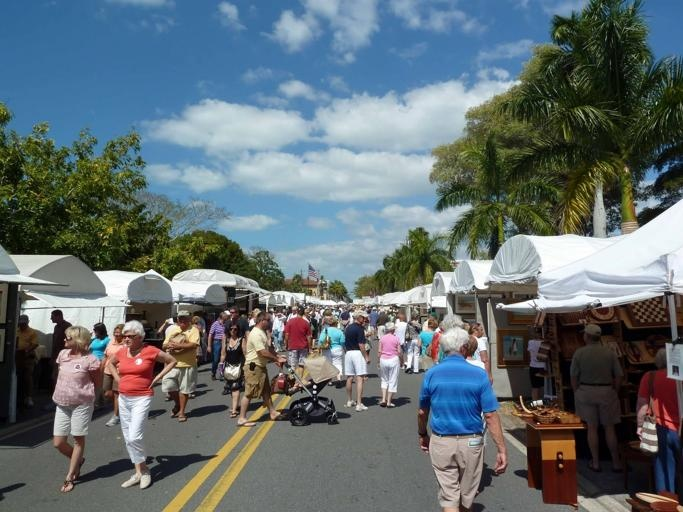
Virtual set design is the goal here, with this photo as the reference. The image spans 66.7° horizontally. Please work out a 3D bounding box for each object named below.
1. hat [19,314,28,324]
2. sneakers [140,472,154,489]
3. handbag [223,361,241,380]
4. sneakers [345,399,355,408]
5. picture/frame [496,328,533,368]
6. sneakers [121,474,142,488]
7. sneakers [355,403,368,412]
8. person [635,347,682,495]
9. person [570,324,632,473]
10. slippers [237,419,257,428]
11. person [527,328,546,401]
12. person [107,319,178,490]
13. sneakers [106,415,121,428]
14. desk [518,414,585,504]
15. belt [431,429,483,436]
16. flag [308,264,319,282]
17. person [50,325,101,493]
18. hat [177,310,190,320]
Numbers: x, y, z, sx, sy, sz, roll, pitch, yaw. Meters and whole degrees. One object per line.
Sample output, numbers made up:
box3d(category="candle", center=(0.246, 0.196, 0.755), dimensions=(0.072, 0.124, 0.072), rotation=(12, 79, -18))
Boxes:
box3d(category="hat", center=(-7.909, 1.616, 12.989), dimensions=(0.169, 0.160, 0.254), rotation=(5, -11, -27))
box3d(category="sneakers", center=(-3.108, 3.590, 8.282), dimensions=(0.169, 0.214, 0.160), rotation=(0, 1, -21))
box3d(category="handbag", center=(-2.589, 2.770, 12.239), dimensions=(0.345, 0.374, 0.287), rotation=(-13, -22, 13))
box3d(category="sneakers", center=(0.234, 3.740, 13.090), dimensions=(0.111, 0.145, 0.319), rotation=(0, -2, 38))
box3d(category="picture/frame", center=(4.590, 2.495, 13.951), dimensions=(0.842, 1.077, 0.056), rotation=(-5, -33, 23))
box3d(category="sneakers", center=(-3.392, 3.597, 8.337), dimensions=(0.316, 0.202, 0.234), rotation=(0, 0, 34))
box3d(category="sneakers", center=(0.491, 3.743, 12.770), dimensions=(0.126, 0.166, 0.358), rotation=(0, -1, 42))
box3d(category="person", center=(4.650, 2.400, 7.593), dimensions=(0.330, 2.016, 0.756), rotation=(0, 1, -7))
box3d(category="person", center=(4.399, 2.478, 9.041), dimensions=(0.801, 2.454, 0.506), rotation=(0, 1, 28))
box3d(category="slippers", center=(-2.074, 3.649, 11.324), dimensions=(0.323, 0.251, 0.161), rotation=(1, -2, 1))
box3d(category="person", center=(4.584, 2.578, 12.203), dimensions=(0.352, 1.701, 0.885), rotation=(0, 1, 21))
box3d(category="person", center=(-3.382, 2.401, 8.742), dimensions=(0.791, 2.590, 1.239), rotation=(-1, 1, -25))
box3d(category="sneakers", center=(-5.099, 3.697, 11.564), dimensions=(0.343, 0.179, 0.144), rotation=(-1, -7, 1))
box3d(category="desk", center=(3.465, 3.004, 8.666), dimensions=(0.826, 1.427, 1.840), rotation=(0, -10, 5))
box3d(category="belt", center=(1.529, 2.321, 6.752), dimensions=(0.667, 0.080, 0.156), rotation=(0, 0, -3))
box3d(category="flag", center=(-3.517, 2.447, 64.509), dimensions=(0.252, 2.807, 2.631), rotation=(-4, -6, 23))
box3d(category="person", center=(-4.352, 2.455, 8.552), dimensions=(0.716, 2.505, 0.677), rotation=(0, 1, -19))
box3d(category="hat", center=(-3.687, 1.398, 12.277), dimensions=(0.231, 0.124, 0.362), rotation=(0, -7, -2))
